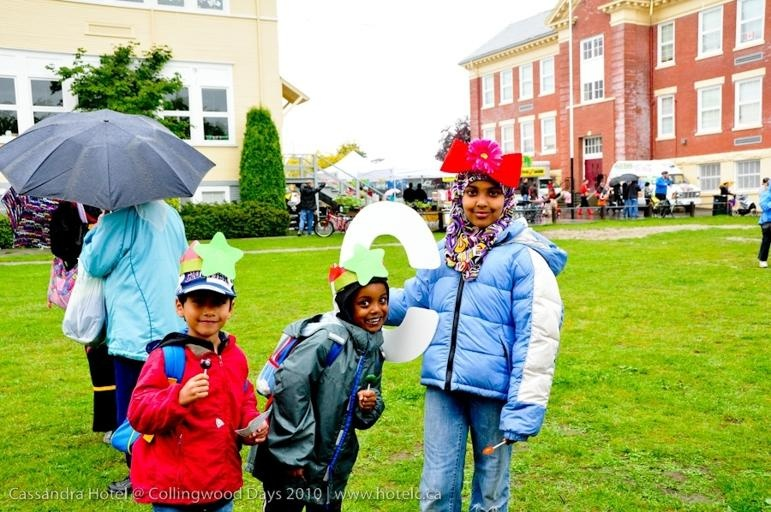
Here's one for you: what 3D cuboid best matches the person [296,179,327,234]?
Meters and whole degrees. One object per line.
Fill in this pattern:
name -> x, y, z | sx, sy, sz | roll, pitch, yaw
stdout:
person -> -2.398, -1.401, 20.748 | 0.704, 1.616, 1.064 | -3, 14, -7

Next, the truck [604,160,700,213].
truck -> 11.229, -2.991, 28.211 | 2.372, 2.247, 4.272 | -4, 5, -35

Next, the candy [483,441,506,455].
candy -> 0.722, 1.271, 4.458 | 0.186, 0.052, 0.048 | -20, -34, 22

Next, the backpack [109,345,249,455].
backpack -> -1.463, 0.910, 4.307 | 0.620, 0.721, 0.273 | -5, 15, -17
